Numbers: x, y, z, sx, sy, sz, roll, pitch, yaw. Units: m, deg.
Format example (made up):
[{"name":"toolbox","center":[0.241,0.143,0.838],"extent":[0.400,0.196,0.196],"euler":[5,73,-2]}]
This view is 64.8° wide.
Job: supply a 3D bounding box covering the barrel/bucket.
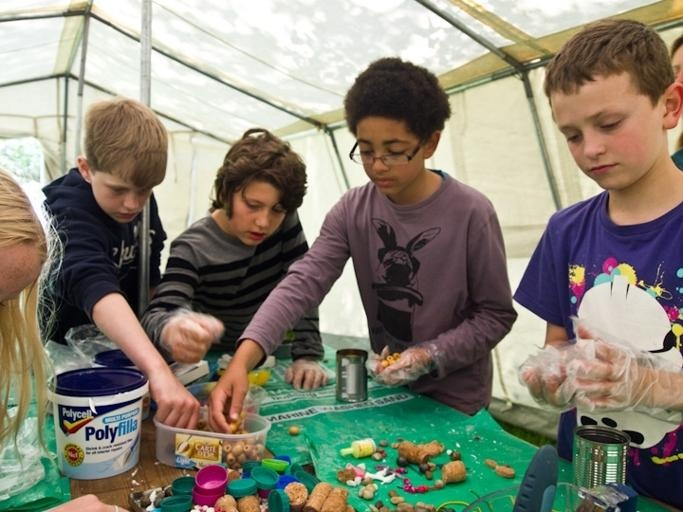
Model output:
[{"name":"barrel/bucket","center":[-1.002,0.641,2.243],"extent":[0.408,0.371,0.403],"euler":[2,3,0]}]
